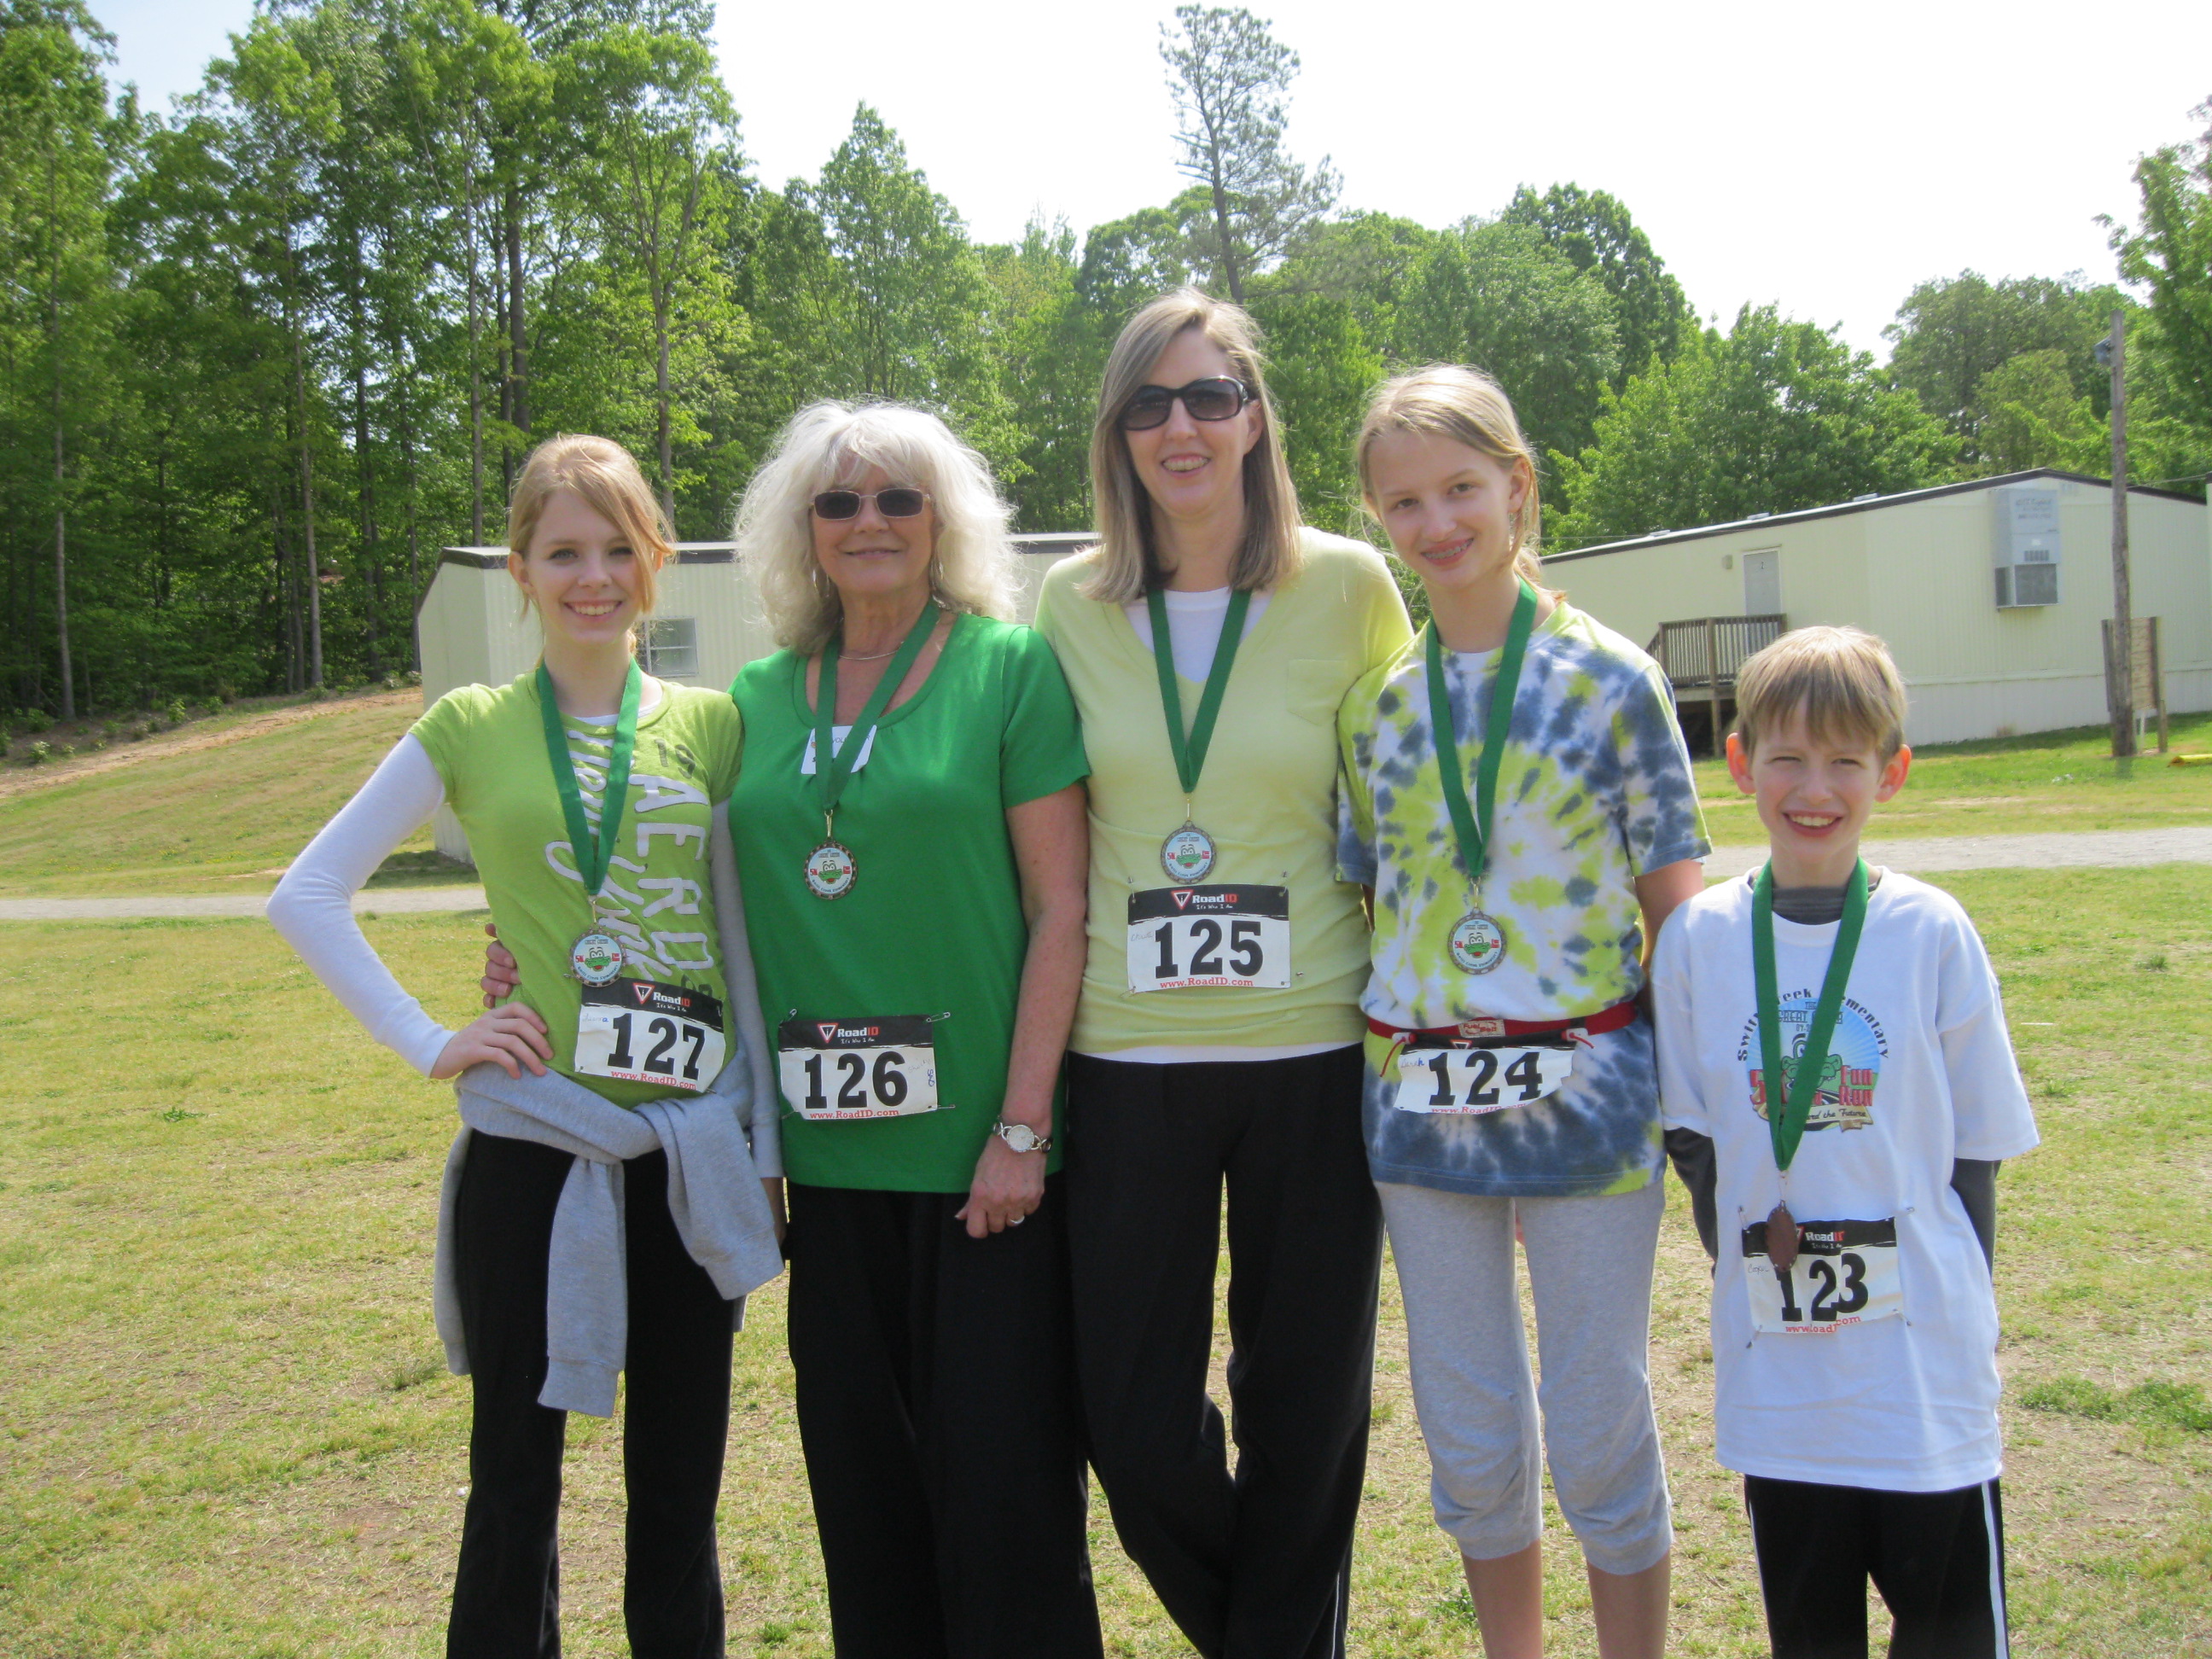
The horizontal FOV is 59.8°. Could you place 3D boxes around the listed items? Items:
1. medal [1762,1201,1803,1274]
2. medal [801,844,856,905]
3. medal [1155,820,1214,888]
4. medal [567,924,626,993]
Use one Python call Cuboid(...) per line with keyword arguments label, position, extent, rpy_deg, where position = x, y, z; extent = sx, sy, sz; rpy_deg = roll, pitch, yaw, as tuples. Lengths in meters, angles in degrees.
Cuboid(label="medal", position=(1.606, 0.964, 4.546), extent=(0.075, 0.153, 0.035), rpy_deg=(-2, -11, 16))
Cuboid(label="medal", position=(-0.706, 0.100, 4.866), extent=(0.127, 0.139, 0.049), rpy_deg=(2, 11, 26))
Cuboid(label="medal", position=(0.206, 0.054, 4.884), extent=(0.117, 0.149, 0.034), rpy_deg=(7, -5, 18))
Cuboid(label="medal", position=(-1.285, 0.329, 4.825), extent=(0.117, 0.140, 0.040), rpy_deg=(-4, 1, -6))
